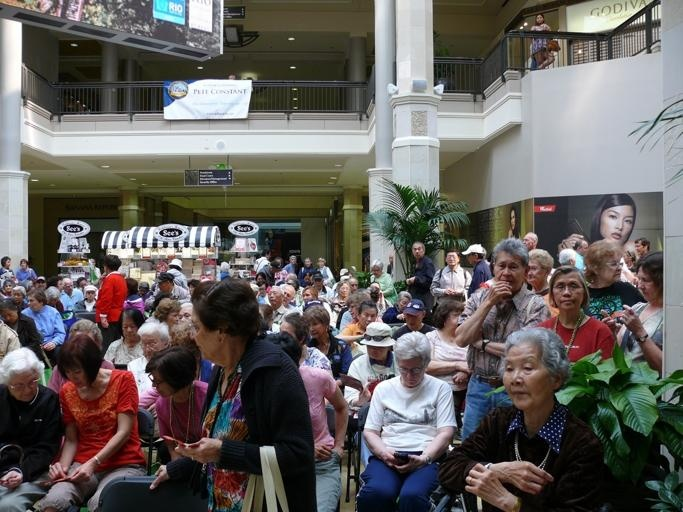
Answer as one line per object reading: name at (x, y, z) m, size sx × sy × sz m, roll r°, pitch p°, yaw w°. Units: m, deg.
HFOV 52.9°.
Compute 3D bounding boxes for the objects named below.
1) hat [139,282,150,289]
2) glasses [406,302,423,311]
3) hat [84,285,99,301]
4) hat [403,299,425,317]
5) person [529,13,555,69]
hat at (-2.805, 0.427, 9.757) m, size 0.142 × 0.076 × 0.199 m, roll 1°, pitch 5°, yaw -16°
glasses at (0.672, 0.466, 6.196) m, size 0.082 × 0.074 × 0.132 m, roll -1°, pitch -9°, yaw 29°
hat at (-3.966, 0.597, 10.873) m, size 0.188 × 0.242 × 0.252 m, roll -1°, pitch -10°, yaw -14°
hat at (0.676, 0.472, 6.217) m, size 0.110 × 0.094 × 0.175 m, roll 0°, pitch -6°, yaw 25°
person at (3.754, -3.994, 12.855) m, size 0.407 × 1.201 × 0.638 m, roll 1°, pitch -1°, yaw 10°
